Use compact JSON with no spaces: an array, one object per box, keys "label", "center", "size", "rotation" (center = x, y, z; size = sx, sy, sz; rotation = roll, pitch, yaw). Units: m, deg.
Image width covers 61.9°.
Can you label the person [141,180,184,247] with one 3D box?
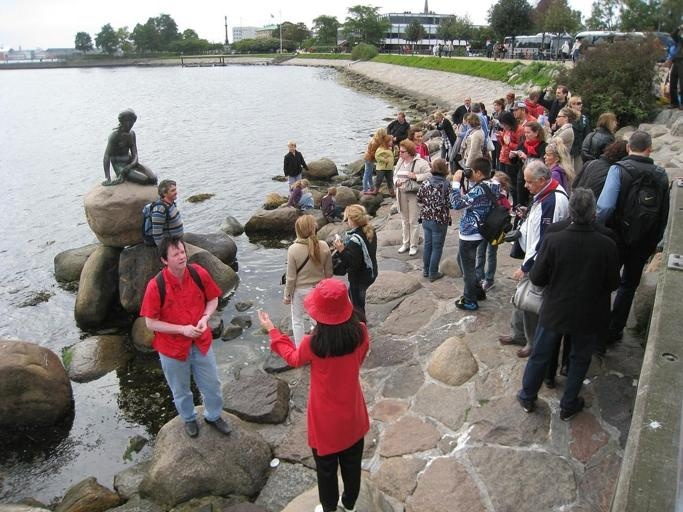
[{"label":"person","center":[-3.412,-0.793,10.718],"size":[0.887,1.597,0.926],"rotation":[1,45,-16]}]

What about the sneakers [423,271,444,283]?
[{"label":"sneakers","center":[1.742,0.344,10.670],"size":[0.340,0.146,0.155],"rotation":[-20,30,-24]}]

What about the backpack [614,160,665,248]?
[{"label":"backpack","center":[3.942,-0.654,7.535],"size":[0.676,1.141,0.498],"rotation":[8,22,22]}]

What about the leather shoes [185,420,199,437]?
[{"label":"leather shoes","center":[-1.879,2.181,7.209],"size":[0.098,0.118,0.294],"rotation":[2,0,-32]}]

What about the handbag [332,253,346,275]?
[{"label":"handbag","center":[-0.030,0.118,8.755],"size":[0.175,0.334,0.240],"rotation":[-2,19,20]}]

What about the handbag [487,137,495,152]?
[{"label":"handbag","center":[3.500,-2.594,13.357],"size":[0.084,0.336,0.347],"rotation":[0,19,21]}]

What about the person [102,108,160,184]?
[{"label":"person","center":[-4.448,-2.214,12.033],"size":[1.105,1.681,0.974],"rotation":[-4,20,-17]}]

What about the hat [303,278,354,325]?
[{"label":"hat","center":[-0.145,0.384,5.746],"size":[0.412,0.242,0.461],"rotation":[-11,54,-16]}]

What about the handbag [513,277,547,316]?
[{"label":"handbag","center":[2.422,0.508,7.262],"size":[0.240,0.336,0.451],"rotation":[17,-16,-15]}]
